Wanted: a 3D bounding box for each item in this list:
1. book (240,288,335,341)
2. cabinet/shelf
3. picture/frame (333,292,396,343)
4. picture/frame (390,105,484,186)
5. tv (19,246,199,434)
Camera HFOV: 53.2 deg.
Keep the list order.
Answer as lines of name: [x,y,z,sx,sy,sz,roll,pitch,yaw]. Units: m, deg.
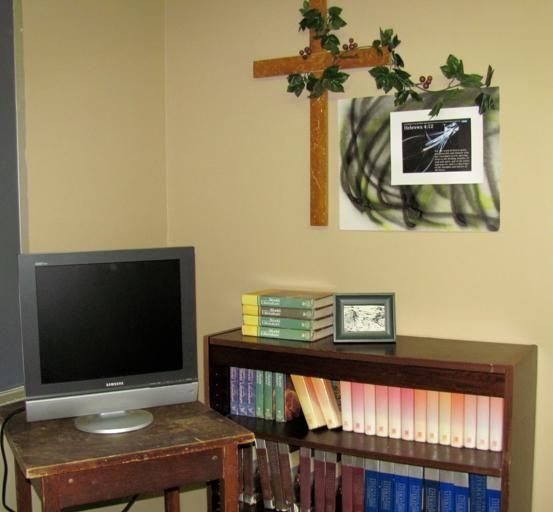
book: [0.049,0.229,2.128,0.254,0.147,0.190,0,1,27]
cabinet/shelf: [0.341,0.624,2.054,1.137,0.653,0.478,-1,3,30]
picture/frame: [0.323,0.232,2.006,0.151,0.148,0.017,0,-7,7]
picture/frame: [0.615,-0.418,2.063,0.276,0.260,0.005,0,2,26]
tv: [-0.559,0.279,1.805,0.474,0.545,0.193,-2,-2,-21]
